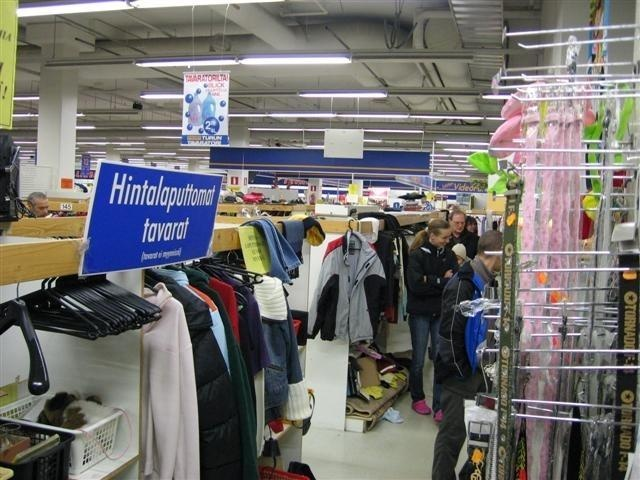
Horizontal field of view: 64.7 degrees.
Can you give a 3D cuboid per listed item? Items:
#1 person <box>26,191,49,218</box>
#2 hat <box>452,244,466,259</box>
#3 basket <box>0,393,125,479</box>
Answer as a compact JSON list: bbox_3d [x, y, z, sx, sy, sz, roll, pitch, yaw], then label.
[{"bbox_3d":[-3.557,-0.425,6.363,0.228,0.317,0.798,1,0,-30],"label":"person"},{"bbox_3d":[1.452,0.135,5.256,0.130,0.167,0.190,8,5,10],"label":"hat"},{"bbox_3d":[-1.074,0.758,2.023,0.528,0.223,0.272,2,0,19],"label":"basket"}]
